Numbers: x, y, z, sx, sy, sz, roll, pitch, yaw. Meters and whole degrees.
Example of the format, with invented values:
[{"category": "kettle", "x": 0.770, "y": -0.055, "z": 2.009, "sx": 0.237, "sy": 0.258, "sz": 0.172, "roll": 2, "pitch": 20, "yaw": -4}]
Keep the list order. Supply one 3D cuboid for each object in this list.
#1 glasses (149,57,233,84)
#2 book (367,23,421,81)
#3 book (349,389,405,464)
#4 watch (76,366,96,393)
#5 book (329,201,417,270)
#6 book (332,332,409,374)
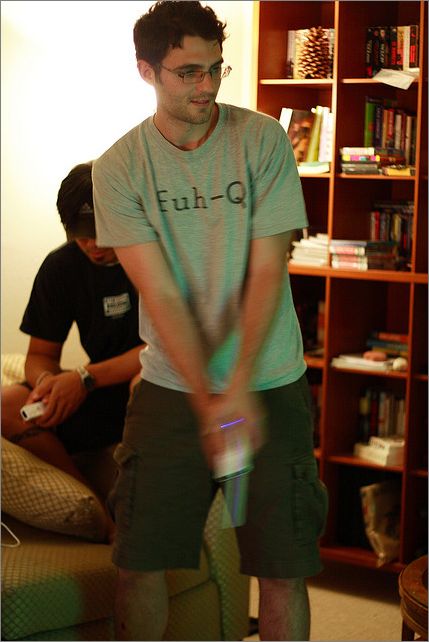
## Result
[{"category": "glasses", "x": -0.037, "y": -0.404, "z": 0.857, "sx": 0.097, "sy": 0.043, "sz": 0.053, "roll": -5, "pitch": 10, "yaw": -11}, {"category": "book", "x": 0.750, "y": -1.169, "z": 2.251, "sx": 0.211, "sy": 0.277, "sz": 0.290, "roll": 1, "pitch": 4, "yaw": 15}, {"category": "book", "x": 0.757, "y": 0.489, "z": 2.417, "sx": 0.067, "sy": 0.279, "sz": 0.281, "roll": 0, "pitch": -3, "yaw": 37}, {"category": "watch", "x": -0.404, "y": 0.184, "z": 1.650, "sx": 0.037, "sy": 0.062, "sz": 0.058, "roll": -30, "pitch": 51, "yaw": -22}, {"category": "book", "x": 0.728, "y": -0.380, "z": 2.340, "sx": 0.290, "sy": 0.293, "sz": 0.363, "roll": 5, "pitch": 13, "yaw": 40}, {"category": "book", "x": 0.718, "y": 0.138, "z": 2.408, "sx": 0.324, "sy": 0.123, "sz": 0.306, "roll": 1, "pitch": 11, "yaw": 23}]
